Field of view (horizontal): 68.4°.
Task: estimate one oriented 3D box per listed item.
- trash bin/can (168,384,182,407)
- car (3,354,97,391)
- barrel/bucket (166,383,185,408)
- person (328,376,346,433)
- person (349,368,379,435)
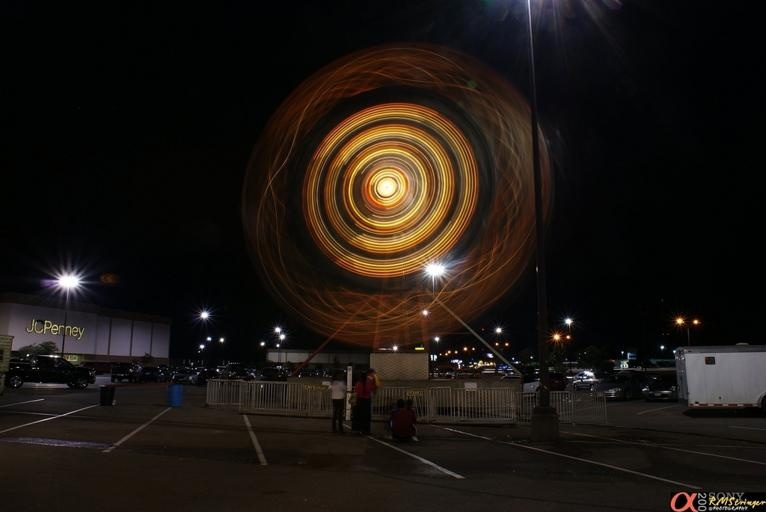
[{"bbox_3d":[-10.302,6.827,27.849,0.573,1.048,1.163,6,-15,-24],"label":"trash bin/can"},{"bbox_3d":[-23.518,8.128,40.045,5.245,1.990,2.434,4,-7,-35],"label":"car"},{"bbox_3d":[-10.385,6.954,28.126,0.989,1.487,0.973,-4,-17,-1],"label":"barrel/bucket"},{"bbox_3d":[-1.704,5.357,20.885,0.533,2.154,1.284,2,-13,-6],"label":"person"},{"bbox_3d":[-0.704,5.251,20.507,0.872,2.289,0.933,0,-13,0],"label":"person"}]
